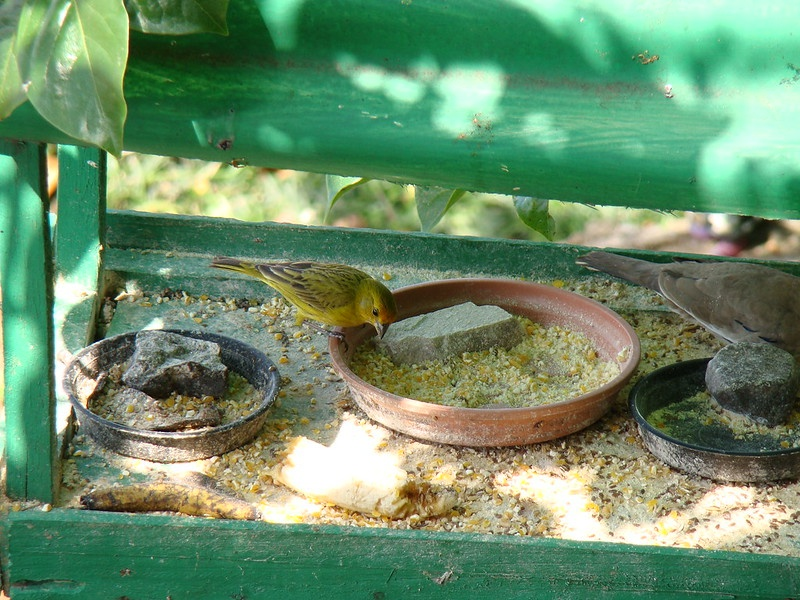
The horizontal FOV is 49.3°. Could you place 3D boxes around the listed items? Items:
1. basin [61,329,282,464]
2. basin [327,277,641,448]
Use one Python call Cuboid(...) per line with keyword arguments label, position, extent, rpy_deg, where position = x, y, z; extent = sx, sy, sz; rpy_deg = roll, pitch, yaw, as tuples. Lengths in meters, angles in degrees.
Cuboid(label="basin", position=(-0.871, 0.458, 3.718), extent=(0.676, 0.140, 0.653), rpy_deg=(7, 29, -4))
Cuboid(label="basin", position=(0.448, 0.292, 4.097), extent=(1.269, 0.336, 1.208), rpy_deg=(1, 25, -1))
